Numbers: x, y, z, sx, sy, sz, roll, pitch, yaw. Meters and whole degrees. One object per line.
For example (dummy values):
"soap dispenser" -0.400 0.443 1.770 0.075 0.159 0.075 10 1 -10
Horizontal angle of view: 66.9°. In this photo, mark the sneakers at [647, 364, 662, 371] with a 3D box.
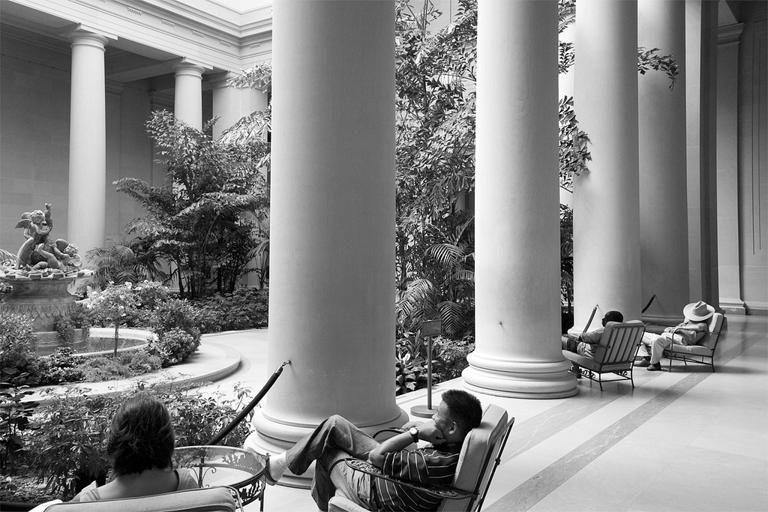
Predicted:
"sneakers" 5.074 2.107 11.015 0.292 0.126 0.106 1 -3 -3

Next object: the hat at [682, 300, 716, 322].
"hat" 6.036 1.096 11.153 0.482 0.178 0.415 -22 33 -8

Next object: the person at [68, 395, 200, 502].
"person" -1.951 1.598 4.583 0.978 0.892 0.543 2 -19 -20

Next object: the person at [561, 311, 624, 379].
"person" 3.561 1.439 9.741 0.650 0.929 1.038 2 5 -22

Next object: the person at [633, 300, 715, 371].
"person" 5.642 1.560 11.269 1.177 1.465 1.044 11 -5 17
